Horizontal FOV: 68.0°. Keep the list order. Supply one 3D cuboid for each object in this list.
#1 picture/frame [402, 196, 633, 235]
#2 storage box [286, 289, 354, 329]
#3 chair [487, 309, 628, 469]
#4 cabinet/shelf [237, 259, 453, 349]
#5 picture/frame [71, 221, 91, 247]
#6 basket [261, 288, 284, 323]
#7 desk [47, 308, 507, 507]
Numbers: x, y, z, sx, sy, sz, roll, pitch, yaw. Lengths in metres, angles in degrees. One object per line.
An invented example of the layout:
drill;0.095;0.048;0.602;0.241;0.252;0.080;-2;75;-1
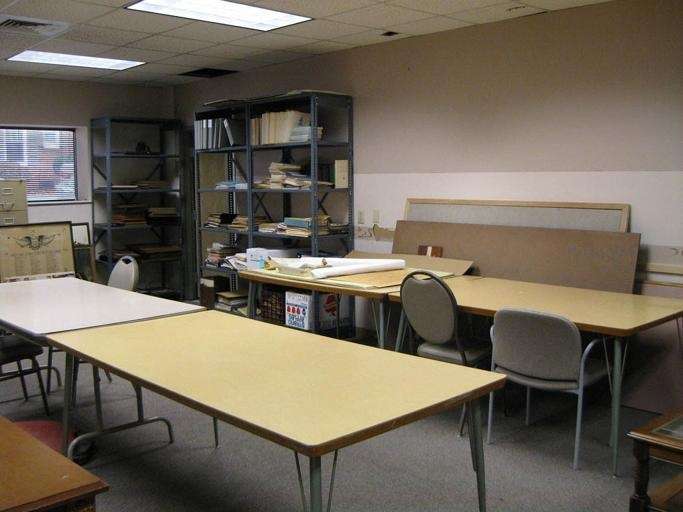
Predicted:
picture/frame;1.295;-0.346;4.538;1.495;0.297;0.058;2;30;5
storage box;-0.235;0.567;5.383;0.772;0.336;0.761;-2;-2;15
chair;1.330;0.747;3.211;0.650;0.828;0.608;-2;3;-45
cabinet/shelf;-0.125;0.499;4.282;1.106;0.634;1.410;2;-13;4
picture/frame;-3.537;-0.279;6.833;0.384;0.410;0.033;-2;-5;-29
basket;-0.689;0.530;5.474;0.328;0.304;0.183;1;2;43
desk;-0.332;0.673;2.363;1.828;0.435;1.004;7;11;37
